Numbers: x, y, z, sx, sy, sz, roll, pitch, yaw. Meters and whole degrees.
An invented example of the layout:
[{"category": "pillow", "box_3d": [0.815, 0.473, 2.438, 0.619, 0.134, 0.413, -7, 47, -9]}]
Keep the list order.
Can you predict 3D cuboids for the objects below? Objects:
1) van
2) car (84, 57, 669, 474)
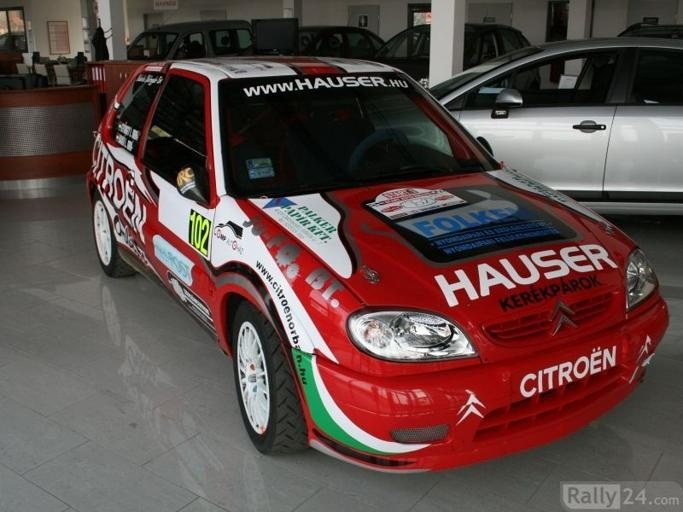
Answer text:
[{"category": "van", "box_3d": [-4.377, -6.198, 12.798, 3.409, 1.079, 1.821, -2, 20, -2]}, {"category": "car", "box_3d": [-0.214, -0.268, 2.791, 2.001, 1.213, 3.400, -15, 27, -30]}]
